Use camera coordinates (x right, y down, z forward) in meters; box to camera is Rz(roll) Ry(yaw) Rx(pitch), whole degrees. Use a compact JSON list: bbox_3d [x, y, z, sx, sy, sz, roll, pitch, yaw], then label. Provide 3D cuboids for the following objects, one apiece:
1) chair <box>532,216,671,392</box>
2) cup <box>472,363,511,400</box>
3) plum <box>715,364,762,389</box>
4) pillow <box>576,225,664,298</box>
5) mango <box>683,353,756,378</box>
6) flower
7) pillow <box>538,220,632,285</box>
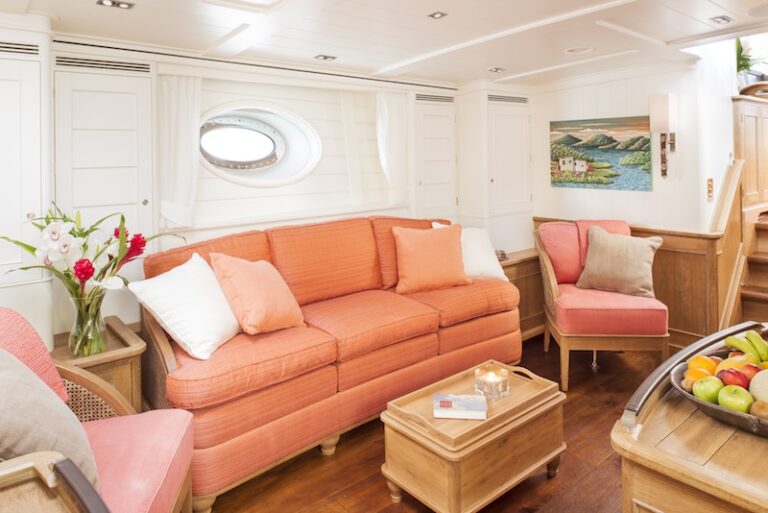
[{"bbox_3d":[1.924,0.301,4.590,1.083,1.092,1.173,-7,19,-7],"label":"chair"},{"bbox_3d":[0.694,0.802,3.298,0.199,0.164,0.192,0,2,0],"label":"cup"},{"bbox_3d":[1.506,0.507,2.159,0.171,0.075,0.085,-10,-10,-9],"label":"plum"},{"bbox_3d":[2.043,0.066,4.445,0.682,0.569,0.200,12,-7,25],"label":"pillow"},{"bbox_3d":[1.490,0.479,2.272,0.208,0.077,0.122,-18,-7,23],"label":"mango"},{"bbox_3d":[-1.990,0.191,3.546,1.102,0.805,1.018,0,-4,18],"label":"flower"},{"bbox_3d":[1.844,-0.064,4.852,0.227,0.721,0.797,2,11,-8],"label":"pillow"}]
